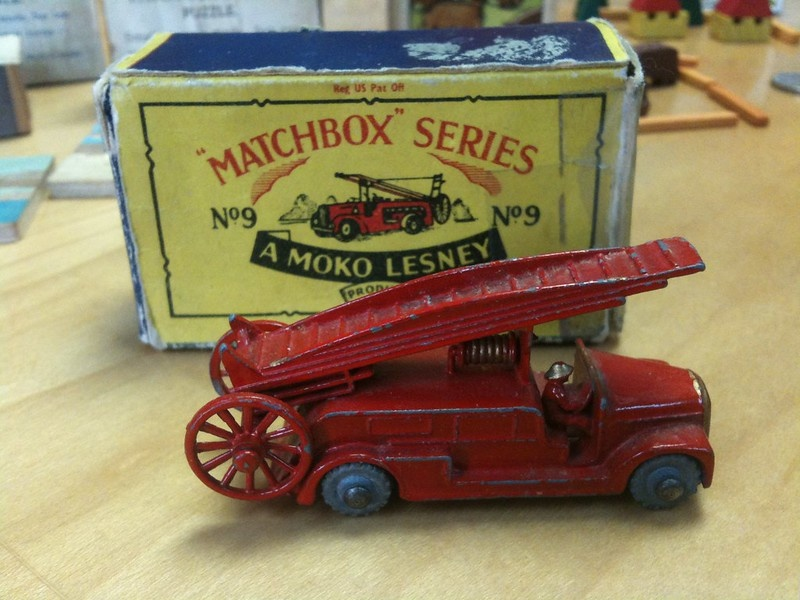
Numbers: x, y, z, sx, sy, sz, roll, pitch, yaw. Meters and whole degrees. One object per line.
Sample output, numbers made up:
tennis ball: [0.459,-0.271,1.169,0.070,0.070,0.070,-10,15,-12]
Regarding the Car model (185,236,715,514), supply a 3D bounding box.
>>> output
Car model: [0.066,0.073,1.430,1.010,0.435,0.344,-2,45,-1]
